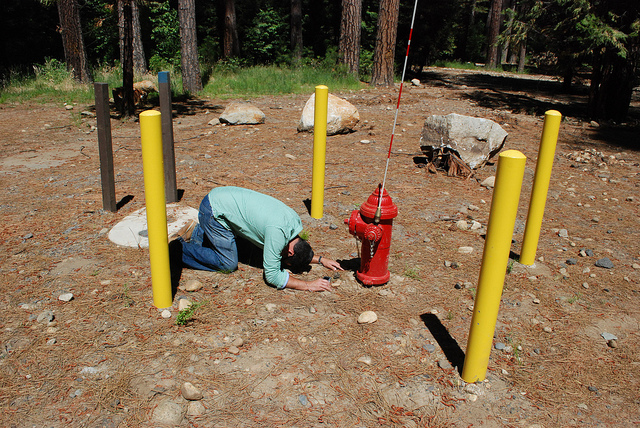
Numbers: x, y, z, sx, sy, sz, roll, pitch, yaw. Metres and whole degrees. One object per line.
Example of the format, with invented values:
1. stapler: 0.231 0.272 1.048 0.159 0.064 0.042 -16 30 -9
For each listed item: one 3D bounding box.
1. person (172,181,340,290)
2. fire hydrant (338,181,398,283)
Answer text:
1. person: -0.865 0.272 6.962 2.074 1.045 1.228 17 21 2
2. fire hydrant: 0.672 0.308 7.126 0.889 1.383 0.985 10 25 14
